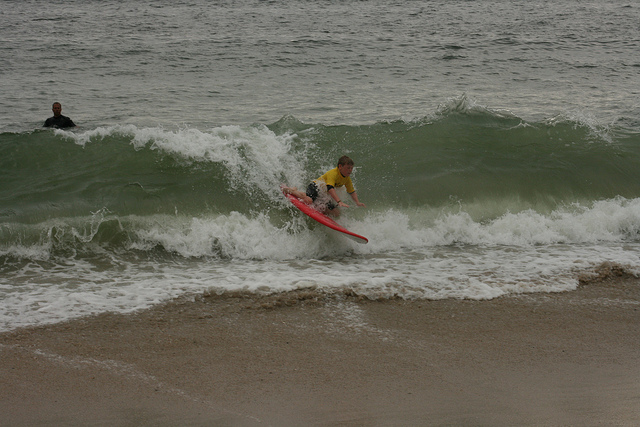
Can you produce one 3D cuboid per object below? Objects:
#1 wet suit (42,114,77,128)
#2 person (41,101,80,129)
[{"bbox_3d":[-9.110,-3.223,33.976,0.958,0.414,0.234,1,8,-12],"label":"wet suit"},{"bbox_3d":[-8.966,-3.295,33.477,1.635,0.890,0.491,-1,-6,16],"label":"person"}]
